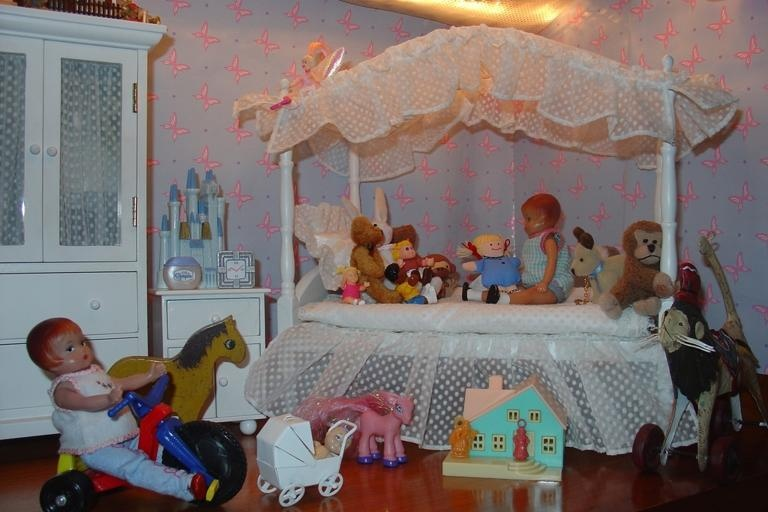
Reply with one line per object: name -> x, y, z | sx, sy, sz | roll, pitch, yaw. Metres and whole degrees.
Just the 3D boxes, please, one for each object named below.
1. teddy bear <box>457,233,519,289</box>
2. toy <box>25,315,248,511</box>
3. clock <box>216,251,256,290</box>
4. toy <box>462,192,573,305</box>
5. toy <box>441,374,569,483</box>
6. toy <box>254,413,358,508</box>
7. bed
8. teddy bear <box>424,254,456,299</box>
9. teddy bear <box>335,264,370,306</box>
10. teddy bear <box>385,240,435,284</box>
teddy bear -> 0.645, 0.046, 3.851 | 0.348, 0.397, 0.154 | -4, -20, -10
toy -> -1.258, 0.780, 2.962 | 0.757, 0.649, 0.429 | 4, 7, 5
clock -> -0.917, 0.086, 3.773 | 0.239, 0.153, 0.162 | -2, 1, -23
toy -> 0.845, -0.059, 3.708 | 0.674, 0.723, 0.567 | -2, 7, 10
toy -> 0.591, 0.845, 2.973 | 0.591, 0.458, 0.180 | -1, 1, 9
toy -> -0.358, 0.936, 2.850 | 0.471, 0.387, 0.252 | -1, 1, -14
bed -> 0.717, -0.181, 4.428 | 2.556, 1.788, 2.007 | 2, 16, 14
teddy bear -> 0.360, 0.138, 3.971 | 0.251, 0.302, 0.236 | 0, -1, -7
teddy bear -> -0.193, 0.179, 3.619 | 0.187, 0.308, 0.212 | 0, -3, -41
teddy bear -> 0.143, 0.037, 3.760 | 0.258, 0.321, 0.277 | -1, -4, -34
